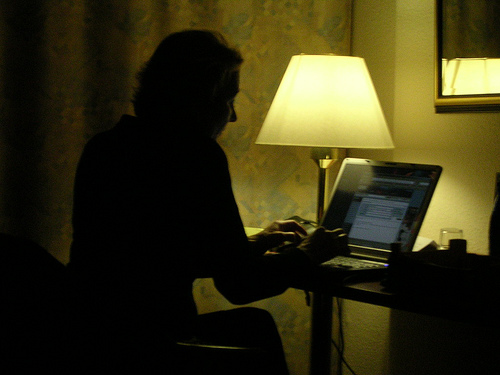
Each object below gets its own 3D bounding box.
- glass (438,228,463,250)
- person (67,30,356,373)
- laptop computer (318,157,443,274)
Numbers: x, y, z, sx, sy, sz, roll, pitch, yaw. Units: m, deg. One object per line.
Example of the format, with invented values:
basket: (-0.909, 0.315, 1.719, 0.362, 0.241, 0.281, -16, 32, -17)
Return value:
glass: (0.677, 0.165, 1.729, 0.083, 0.078, 0.082, 1, 4, 14)
person: (-0.339, -0.039, 2.213, 1.090, 1.735, 0.867, -3, 8, -28)
laptop computer: (0.455, 0.070, 1.844, 0.380, 0.398, 0.308, 14, 4, 39)
